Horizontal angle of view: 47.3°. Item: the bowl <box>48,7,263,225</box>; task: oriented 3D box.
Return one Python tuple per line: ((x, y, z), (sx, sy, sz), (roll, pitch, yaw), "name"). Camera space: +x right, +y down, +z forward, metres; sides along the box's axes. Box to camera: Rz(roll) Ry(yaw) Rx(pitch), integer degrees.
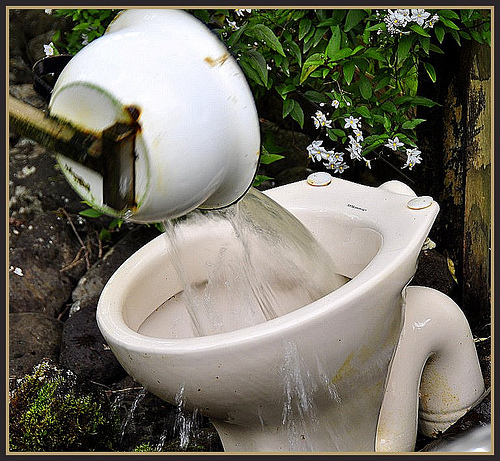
((-0.120, -0.203, 1.069), (0.381, 0.400, 0.174), (9, 23, 40), "bowl")
